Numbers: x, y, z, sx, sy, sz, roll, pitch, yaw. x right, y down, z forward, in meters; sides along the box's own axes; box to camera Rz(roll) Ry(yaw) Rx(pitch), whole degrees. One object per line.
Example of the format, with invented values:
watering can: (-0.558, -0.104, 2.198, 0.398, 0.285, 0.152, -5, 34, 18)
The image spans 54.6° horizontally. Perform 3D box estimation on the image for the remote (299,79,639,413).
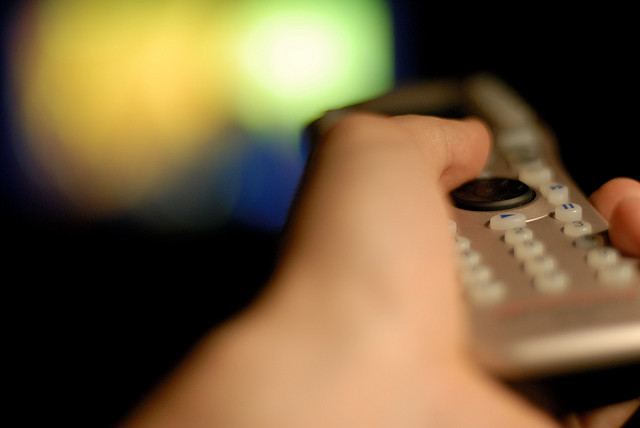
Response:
remote: (0.146, -0.033, 0.552, 0.145, 0.065, 0.355, -12, 40, -3)
